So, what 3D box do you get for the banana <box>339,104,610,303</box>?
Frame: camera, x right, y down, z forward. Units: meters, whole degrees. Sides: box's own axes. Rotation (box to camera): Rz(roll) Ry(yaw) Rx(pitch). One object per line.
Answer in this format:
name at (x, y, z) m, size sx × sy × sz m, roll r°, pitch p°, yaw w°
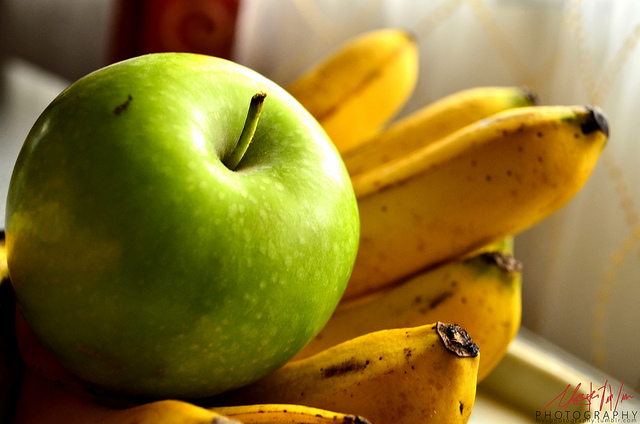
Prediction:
banana at (0.156, -0.026, 0.911) m, size 0.156 × 0.195 × 0.567 m, roll 15°, pitch -18°, yaw -40°
